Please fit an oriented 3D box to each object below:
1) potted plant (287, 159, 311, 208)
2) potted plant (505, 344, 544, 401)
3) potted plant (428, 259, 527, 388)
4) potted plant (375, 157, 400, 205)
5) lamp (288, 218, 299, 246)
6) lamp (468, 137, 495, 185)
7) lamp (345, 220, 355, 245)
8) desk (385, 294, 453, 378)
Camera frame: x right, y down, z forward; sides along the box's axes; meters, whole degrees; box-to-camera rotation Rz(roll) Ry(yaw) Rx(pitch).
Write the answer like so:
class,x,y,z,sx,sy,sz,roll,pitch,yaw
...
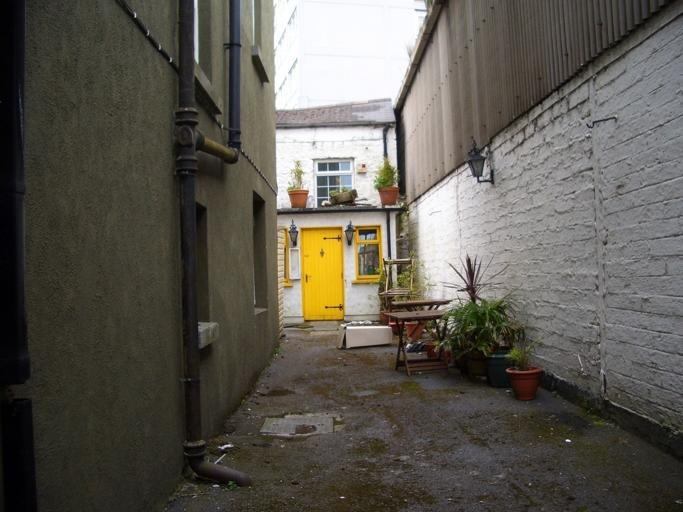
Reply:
class,x,y,z,sx,sy,sz,roll,pitch,yaw
potted plant,-1.185,-1.937,14.160,0.491,1.305,1.087,-1,0,-6
potted plant,2.064,1.260,5.947,0.354,0.554,0.716,-1,0,21
potted plant,1.822,0.793,6.953,0.921,1.557,1.652,-1,0,3
potted plant,1.200,-1.951,13.937,0.605,1.265,0.645,-1,0,3
lamp,-1.256,-0.605,13.746,0.234,0.731,0.246,-1,0,16
lamp,1.980,-1.375,7.630,0.372,0.638,0.816,-1,0,6
lamp,0.228,-0.605,13.715,0.250,0.615,0.404,-1,0,0
desk,1.186,1.299,8.108,1.080,1.176,1.031,-1,4,-6
